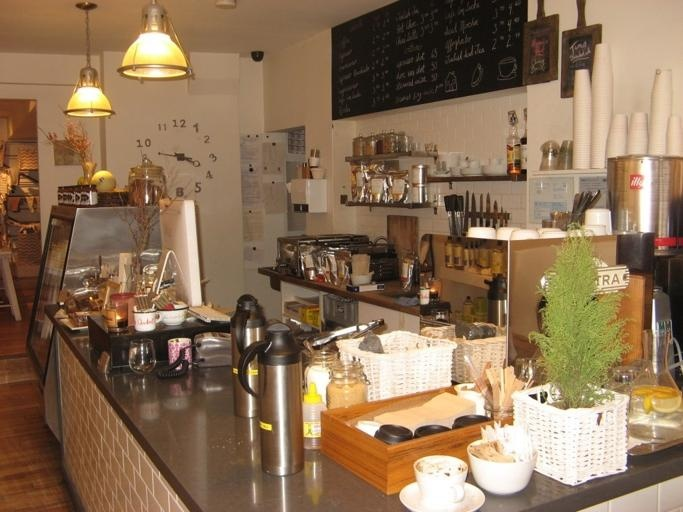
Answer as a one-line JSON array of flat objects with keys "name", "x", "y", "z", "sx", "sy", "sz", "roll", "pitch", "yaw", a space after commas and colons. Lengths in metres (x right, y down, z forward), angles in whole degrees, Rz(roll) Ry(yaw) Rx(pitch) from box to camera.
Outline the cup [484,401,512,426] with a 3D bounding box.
[{"name": "cup", "x": 0.480, "y": 0.464, "z": 1.686, "sx": 0.075, "sy": 0.076, "sz": 0.075, "roll": -2, "pitch": 2, "yaw": 0}]

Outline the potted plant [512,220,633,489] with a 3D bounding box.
[{"name": "potted plant", "x": 0.614, "y": 0.259, "z": 1.475, "sx": 0.299, "sy": 0.651, "sz": 0.190, "roll": -2, "pitch": 1, "yaw": 15}]

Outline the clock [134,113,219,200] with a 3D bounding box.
[{"name": "clock", "x": -2.061, "y": -1.166, "z": 6.905, "sx": 1.013, "sy": 0.981, "sz": 0.093, "roll": -2, "pitch": 28, "yaw": -2}]

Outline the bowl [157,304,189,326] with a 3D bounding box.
[{"name": "bowl", "x": -0.767, "y": 0.268, "z": 2.549, "sx": 0.108, "sy": 0.050, "sz": 0.089, "roll": -2, "pitch": 2, "yaw": 30}]

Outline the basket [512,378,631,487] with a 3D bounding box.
[{"name": "basket", "x": 0.604, "y": 0.467, "z": 1.512, "sx": 0.262, "sy": 0.193, "sz": 0.260, "roll": -1, "pitch": 3, "yaw": -26}]

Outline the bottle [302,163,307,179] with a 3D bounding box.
[{"name": "bottle", "x": -0.405, "y": -0.928, "z": 6.058, "sx": 0.057, "sy": 0.145, "sz": 0.198, "roll": -2, "pitch": 1, "yaw": -4}]

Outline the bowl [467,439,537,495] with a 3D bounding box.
[{"name": "bowl", "x": 0.408, "y": 0.538, "z": 1.404, "sx": 0.129, "sy": 0.075, "sz": 0.127, "roll": -1, "pitch": -5, "yaw": 0}]

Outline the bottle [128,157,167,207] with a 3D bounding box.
[{"name": "bottle", "x": -1.265, "y": -0.478, "z": 3.567, "sx": 0.226, "sy": 0.289, "sz": 0.256, "roll": -3, "pitch": 1, "yaw": -18}]

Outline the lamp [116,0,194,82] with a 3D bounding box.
[{"name": "lamp", "x": -1.023, "y": -1.197, "z": 2.993, "sx": 0.365, "sy": 0.405, "sz": 0.387, "roll": -3, "pitch": 1, "yaw": -20}]

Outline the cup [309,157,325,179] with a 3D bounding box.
[{"name": "cup", "x": -0.262, "y": -0.952, "z": 5.993, "sx": 0.165, "sy": 0.181, "sz": 0.101, "roll": -2, "pitch": 1, "yaw": -3}]

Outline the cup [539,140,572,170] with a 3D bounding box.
[{"name": "cup", "x": 1.400, "y": -0.645, "z": 3.573, "sx": 0.226, "sy": 0.210, "sz": 0.140, "roll": 6, "pitch": 6, "yaw": 44}]

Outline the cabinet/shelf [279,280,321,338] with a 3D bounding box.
[{"name": "cabinet/shelf", "x": -0.334, "y": 0.428, "z": 4.737, "sx": 0.275, "sy": 0.452, "sz": 0.495, "roll": -3, "pitch": 6, "yaw": -37}]

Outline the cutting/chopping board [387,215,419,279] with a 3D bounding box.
[{"name": "cutting/chopping board", "x": 0.572, "y": -0.082, "z": 5.036, "sx": 0.076, "sy": 0.688, "sz": 0.512, "roll": -7, "pitch": 13, "yaw": -29}]

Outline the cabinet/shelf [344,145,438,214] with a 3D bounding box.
[{"name": "cabinet/shelf", "x": 0.528, "y": -0.692, "z": 5.096, "sx": 0.447, "sy": 0.381, "sz": 1.160, "roll": -3, "pitch": 1, "yaw": -37}]

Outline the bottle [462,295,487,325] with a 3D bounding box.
[{"name": "bottle", "x": 0.449, "y": 0.177, "z": 1.849, "sx": 0.020, "sy": 0.088, "sz": 0.104, "roll": -3, "pitch": 1, "yaw": -32}]

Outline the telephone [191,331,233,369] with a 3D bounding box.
[{"name": "telephone", "x": -0.553, "y": 0.391, "z": 2.421, "sx": 0.205, "sy": 0.135, "sz": 0.152, "roll": -2, "pitch": -3, "yaw": 44}]

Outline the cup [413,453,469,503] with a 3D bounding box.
[{"name": "cup", "x": 0.251, "y": 0.557, "z": 1.389, "sx": 0.130, "sy": 0.069, "sz": 0.126, "roll": -2, "pitch": 1, "yaw": 0}]

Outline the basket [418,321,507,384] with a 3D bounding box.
[{"name": "basket", "x": 0.434, "y": 0.304, "z": 1.884, "sx": 0.179, "sy": 0.092, "sz": 0.240, "roll": -1, "pitch": 8, "yaw": -21}]

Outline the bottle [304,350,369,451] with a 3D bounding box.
[{"name": "bottle", "x": -0.019, "y": 0.444, "z": 1.782, "sx": 0.208, "sy": 0.226, "sz": 0.323, "roll": -2, "pitch": 1, "yaw": -3}]

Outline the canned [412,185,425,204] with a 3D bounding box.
[{"name": "canned", "x": 0.677, "y": -0.542, "z": 4.845, "sx": 0.147, "sy": 0.158, "sz": 0.143, "roll": 1, "pitch": 2, "yaw": -6}]

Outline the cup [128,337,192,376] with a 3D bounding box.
[{"name": "cup", "x": -0.755, "y": 0.412, "z": 2.362, "sx": 0.262, "sy": 0.156, "sz": 0.134, "roll": 1, "pitch": 1, "yaw": -34}]

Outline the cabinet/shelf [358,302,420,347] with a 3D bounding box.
[{"name": "cabinet/shelf", "x": 0.299, "y": 0.376, "z": 3.194, "sx": 0.123, "sy": 0.339, "sz": 0.375, "roll": -2, "pitch": 4, "yaw": -35}]

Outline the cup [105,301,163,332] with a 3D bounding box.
[{"name": "cup", "x": -0.935, "y": 0.263, "z": 2.488, "sx": 0.120, "sy": 0.115, "sz": 0.246, "roll": 1, "pitch": 0, "yaw": 24}]

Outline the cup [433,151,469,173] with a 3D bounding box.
[{"name": "cup", "x": 0.890, "y": -0.747, "z": 4.504, "sx": 0.247, "sy": 0.174, "sz": 0.219, "roll": 0, "pitch": 4, "yaw": 14}]
